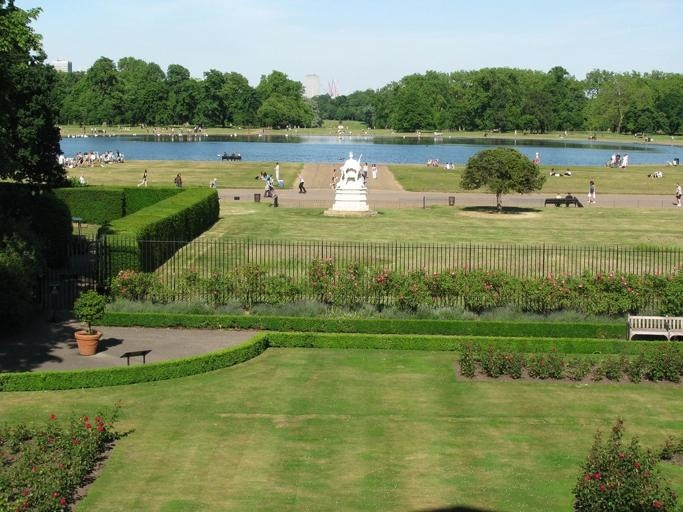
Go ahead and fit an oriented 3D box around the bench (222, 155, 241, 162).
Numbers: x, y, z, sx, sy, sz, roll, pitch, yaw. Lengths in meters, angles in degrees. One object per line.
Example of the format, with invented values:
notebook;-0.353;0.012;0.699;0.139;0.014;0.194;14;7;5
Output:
bench;-11.919;-11.206;116.538;1.945;0.690;5.908;-2;8;-7

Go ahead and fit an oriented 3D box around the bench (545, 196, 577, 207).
bench;14.434;-3.647;69.023;2.219;0.613;1.261;0;8;7

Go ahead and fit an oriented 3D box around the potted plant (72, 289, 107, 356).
potted plant;-8.159;2.058;34.695;1.011;1.930;2.657;-4;9;-14
